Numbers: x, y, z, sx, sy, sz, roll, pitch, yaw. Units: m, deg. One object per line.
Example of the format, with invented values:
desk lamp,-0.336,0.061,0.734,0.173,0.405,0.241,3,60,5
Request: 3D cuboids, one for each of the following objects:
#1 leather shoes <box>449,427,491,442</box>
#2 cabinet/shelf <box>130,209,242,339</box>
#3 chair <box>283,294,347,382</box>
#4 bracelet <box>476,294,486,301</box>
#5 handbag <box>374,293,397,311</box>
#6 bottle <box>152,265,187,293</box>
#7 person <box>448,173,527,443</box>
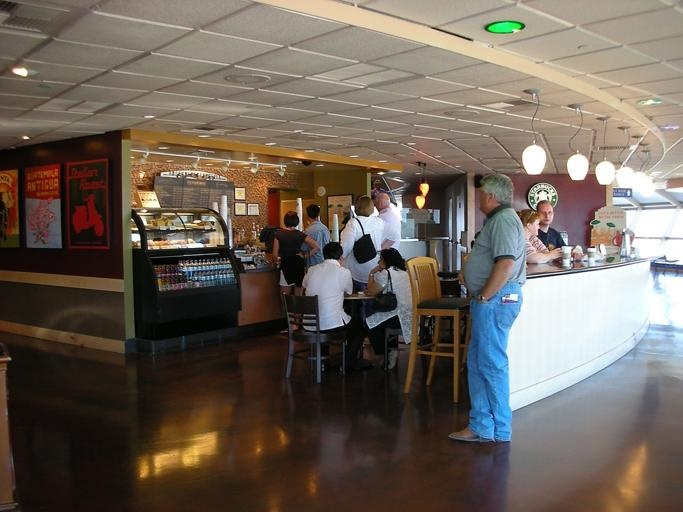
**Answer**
leather shoes,1.059,1.525,4.468,0.373,0.126,0.113,3,-3,21
cabinet/shelf,-2.319,0.227,7.779,1.450,1.849,0.661,-7,10,-41
chair,-0.306,0.919,5.958,0.708,0.996,0.449,-2,7,-3
bracelet,1.130,0.341,4.286,0.056,0.050,0.017,-11,-37,34
handbag,0.482,0.521,5.724,0.285,0.179,0.192,-8,-20,31
bottle,-2.430,0.299,7.472,0.427,0.369,0.217,-7,9,-41
person,1.228,0.432,4.415,0.529,2.234,0.514,2,8,23
